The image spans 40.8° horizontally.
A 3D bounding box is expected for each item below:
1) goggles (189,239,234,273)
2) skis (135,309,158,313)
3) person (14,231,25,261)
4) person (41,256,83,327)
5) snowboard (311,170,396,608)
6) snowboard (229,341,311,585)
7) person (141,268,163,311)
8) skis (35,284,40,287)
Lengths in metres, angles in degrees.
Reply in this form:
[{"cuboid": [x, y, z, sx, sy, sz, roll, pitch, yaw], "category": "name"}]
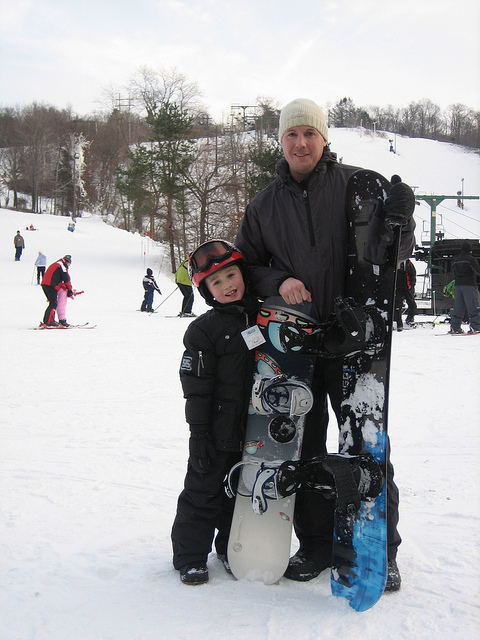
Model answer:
[{"cuboid": [-0.119, -0.258, 2.658, 0.120, 0.166, 0.133, -21, 45, -6], "category": "goggles"}, {"cuboid": [-2.033, -0.193, 14.118, 0.415, 0.046, 0.041, 7, -27, 1], "category": "skis"}, {"cuboid": [-7.915, -2.645, 23.122, 0.270, 1.048, 1.541, 1, 6, -18], "category": "person"}, {"cuboid": [-3.112, -0.504, 11.108, 0.577, 1.180, 1.035, 1, 6, -16], "category": "person"}, {"cuboid": [0.423, 0.204, 2.314, 0.251, 1.527, 0.515, 3, 5, 7], "category": "snowboard"}, {"cuboid": [0.114, 0.516, 2.409, 0.259, 0.845, 0.292, 3, 5, 8], "category": "snowboard"}, {"cuboid": [-1.973, -0.665, 14.390, 0.406, 0.953, 1.936, 2, 5, -7], "category": "person"}, {"cuboid": [-5.694, -0.977, 18.164, 0.045, 0.050, 0.437, -45, 24, -21], "category": "skis"}]
